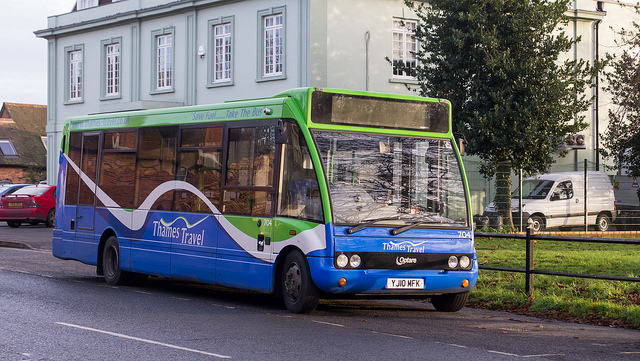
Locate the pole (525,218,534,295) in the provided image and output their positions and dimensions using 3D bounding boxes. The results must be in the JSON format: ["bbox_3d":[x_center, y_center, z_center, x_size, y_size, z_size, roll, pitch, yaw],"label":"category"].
[{"bbox_3d":[5.592,2.109,18.520,0.228,1.730,0.479,2,7,16],"label":"pole"}]

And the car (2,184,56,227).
[{"bbox_3d":[-15.359,1.296,37.832,2.120,1.679,4.920,0,1,5],"label":"car"}]

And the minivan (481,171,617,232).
[{"bbox_3d":[11.536,1.138,35.142,6.227,2.939,3.478,3,-4,-23],"label":"minivan"}]
